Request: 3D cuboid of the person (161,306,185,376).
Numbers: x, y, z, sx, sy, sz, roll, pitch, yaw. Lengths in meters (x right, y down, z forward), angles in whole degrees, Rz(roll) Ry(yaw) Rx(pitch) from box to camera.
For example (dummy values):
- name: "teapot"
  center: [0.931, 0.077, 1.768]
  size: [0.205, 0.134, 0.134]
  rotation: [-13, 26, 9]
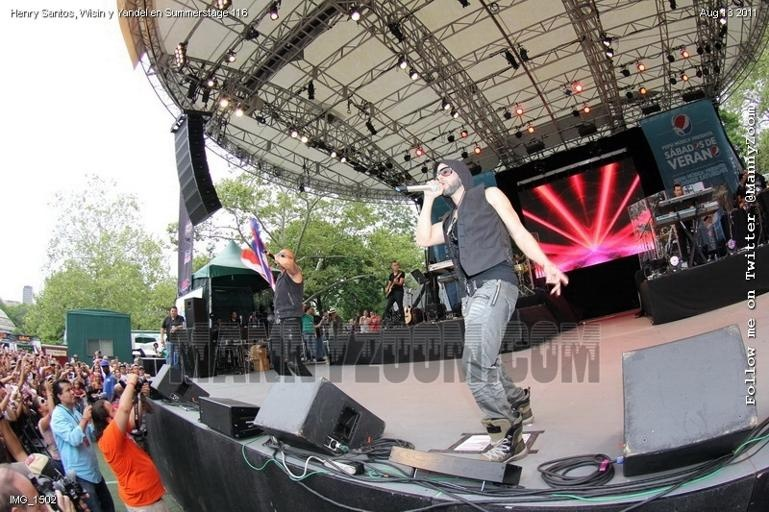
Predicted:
- name: "person"
  center: [-4.177, 1.643, 9.186]
  size: [0.481, 1.260, 0.405]
  rotation: [-3, -1, -9]

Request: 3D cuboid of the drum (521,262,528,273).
- name: "drum"
  center: [3.231, 0.265, 10.812]
  size: [0.146, 0.178, 0.176]
  rotation: [2, 8, 10]

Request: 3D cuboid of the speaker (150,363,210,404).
- name: "speaker"
  center: [-2.568, 1.606, 5.906]
  size: [0.608, 0.265, 0.335]
  rotation: [34, -52, -26]

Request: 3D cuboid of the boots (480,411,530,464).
- name: "boots"
  center: [0.774, 1.187, 3.075]
  size: [0.383, 0.283, 0.180]
  rotation: [2, -12, -36]

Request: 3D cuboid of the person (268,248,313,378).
- name: "person"
  center: [-1.282, 0.767, 6.253]
  size: [0.492, 1.673, 1.345]
  rotation: [-2, -10, -14]

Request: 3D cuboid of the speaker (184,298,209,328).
- name: "speaker"
  center: [-3.041, 0.912, 7.556]
  size: [0.331, 0.471, 0.453]
  rotation: [1, -11, -30]

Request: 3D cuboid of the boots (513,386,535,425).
- name: "boots"
  center: [1.103, 1.162, 3.630]
  size: [0.123, 0.244, 0.369]
  rotation: [-5, -25, -1]

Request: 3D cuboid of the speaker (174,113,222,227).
- name: "speaker"
  center: [-4.556, -2.165, 11.228]
  size: [0.610, 2.798, 1.524]
  rotation: [4, -13, -43]

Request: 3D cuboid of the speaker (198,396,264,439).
- name: "speaker"
  center: [-1.321, 1.374, 3.960]
  size: [0.370, 0.221, 0.504]
  rotation: [7, -1, -37]

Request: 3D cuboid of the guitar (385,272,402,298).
- name: "guitar"
  center: [0.242, 0.666, 11.550]
  size: [0.422, 0.524, 0.521]
  rotation: [-5, -10, -1]

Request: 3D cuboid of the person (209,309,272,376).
- name: "person"
  center: [-2.783, 1.645, 8.952]
  size: [1.097, 1.076, 0.898]
  rotation: [-1, 0, 9]

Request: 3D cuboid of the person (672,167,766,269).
- name: "person"
  center: [4.844, -0.517, 6.687]
  size: [1.594, 1.207, 0.706]
  rotation: [-1, -10, -21]

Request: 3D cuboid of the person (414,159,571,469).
- name: "person"
  center: [0.776, 0.290, 3.379]
  size: [0.951, 2.143, 0.630]
  rotation: [-6, -10, 8]

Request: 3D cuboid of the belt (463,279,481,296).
- name: "belt"
  center: [0.621, 0.219, 3.346]
  size: [0.085, 0.120, 0.046]
  rotation: [1, -4, 43]

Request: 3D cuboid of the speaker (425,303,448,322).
- name: "speaker"
  center: [1.197, 1.343, 11.006]
  size: [0.414, 0.410, 0.428]
  rotation: [-6, -8, 17]
